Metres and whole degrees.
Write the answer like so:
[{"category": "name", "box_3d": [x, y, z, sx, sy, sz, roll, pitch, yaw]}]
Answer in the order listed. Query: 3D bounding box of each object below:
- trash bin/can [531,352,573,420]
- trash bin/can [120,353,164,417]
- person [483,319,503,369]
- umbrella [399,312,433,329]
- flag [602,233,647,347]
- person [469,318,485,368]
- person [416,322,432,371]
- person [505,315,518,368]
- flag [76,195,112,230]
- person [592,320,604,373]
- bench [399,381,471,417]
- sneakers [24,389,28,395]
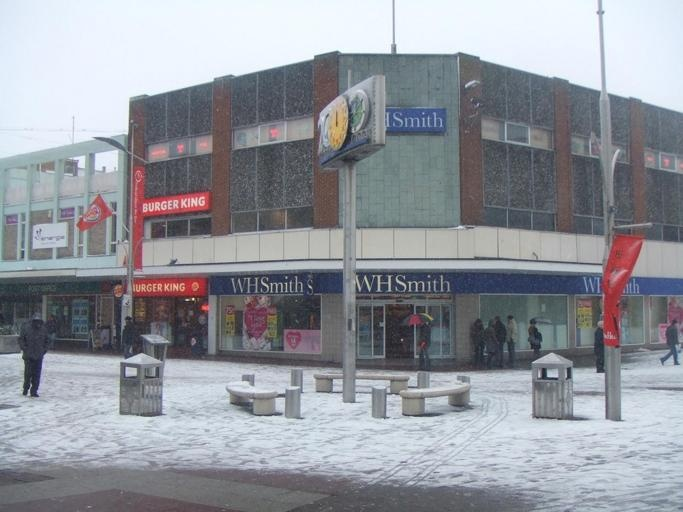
[{"category": "trash bin/can", "box_3d": [5.143, 3.183, 19.524, 0.975, 1.568, 0.599, -3, -7, 14]}, {"category": "trash bin/can", "box_3d": [-5.048, 3.233, 19.978, 1.052, 1.546, 0.745, -1, -7, 0]}, {"category": "person", "box_3d": [6.032, 3.462, 31.615, 0.648, 1.937, 1.160, -3, -8, 21]}, {"category": "umbrella", "box_3d": [2.938, 2.524, 31.175, 0.819, 0.479, 1.437, 0, -9, -8]}, {"category": "flag", "box_3d": [6.733, 0.919, 19.348, 0.580, 2.859, 0.795, -1, 17, -5]}, {"category": "person", "box_3d": [5.455, 3.482, 31.712, 0.508, 1.925, 1.048, -2, -7, 10]}, {"category": "person", "box_3d": [3.211, 3.511, 30.925, 0.450, 1.812, 1.116, -1, -7, 6]}, {"category": "person", "box_3d": [6.987, 3.480, 32.762, 0.436, 2.072, 1.298, -2, -7, 13]}, {"category": "flag", "box_3d": [-11.563, -2.094, 37.529, 1.645, 2.374, 0.181, -5, -43, -1]}, {"category": "person", "box_3d": [9.313, 3.293, 28.764, 0.267, 1.809, 0.734, -2, -7, 14]}, {"category": "bench", "box_3d": [2.516, 3.719, 21.009, 2.477, 0.823, 0.724, 2, 2, -43]}, {"category": "sneakers", "box_3d": [-8.810, 3.791, 22.144, 0.112, 0.204, 0.119, -3, -15, -3]}]
